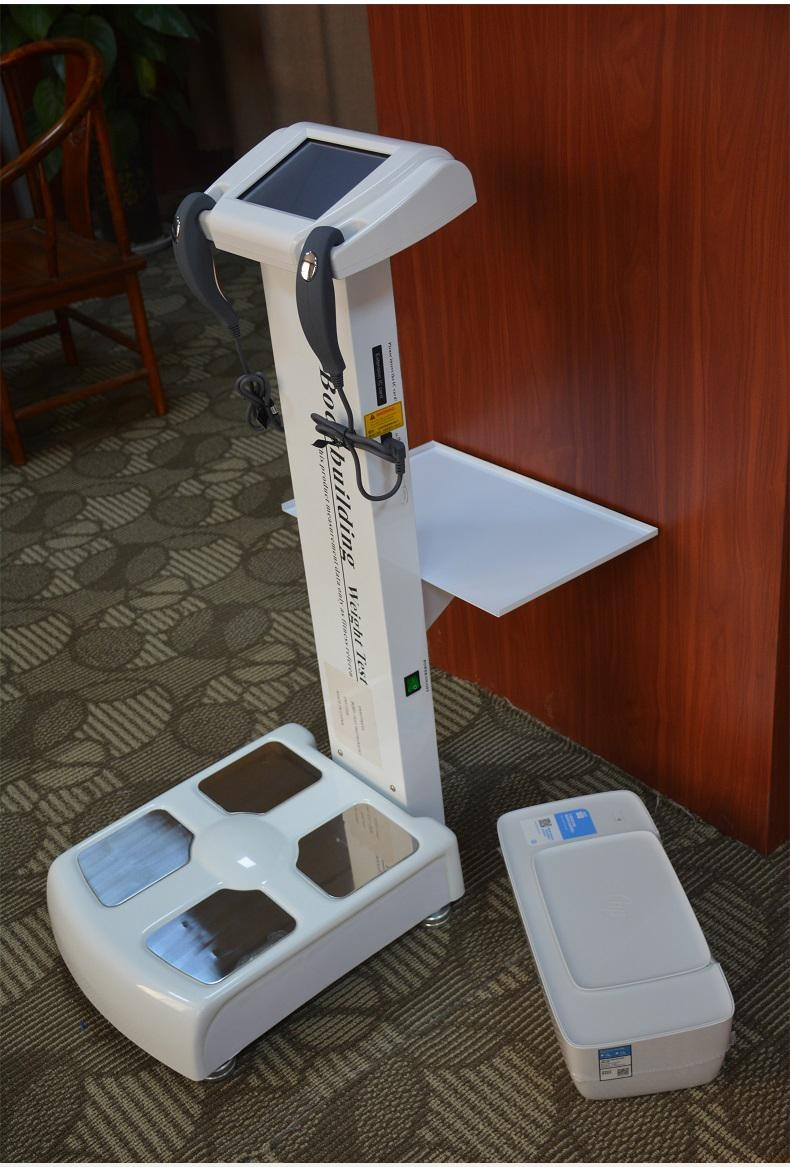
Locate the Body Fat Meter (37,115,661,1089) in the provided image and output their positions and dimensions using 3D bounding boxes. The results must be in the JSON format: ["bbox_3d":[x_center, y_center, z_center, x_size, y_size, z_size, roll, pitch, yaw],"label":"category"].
[{"bbox_3d":[-0.104,-0.001,1.301,0.838,1.084,0.526,-22,31,-37],"label":"Body Fat Meter"}]

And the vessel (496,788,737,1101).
[{"bbox_3d":[0.298,0.486,1.292,0.221,0.122,0.422,-9,27,-2],"label":"vessel"}]
